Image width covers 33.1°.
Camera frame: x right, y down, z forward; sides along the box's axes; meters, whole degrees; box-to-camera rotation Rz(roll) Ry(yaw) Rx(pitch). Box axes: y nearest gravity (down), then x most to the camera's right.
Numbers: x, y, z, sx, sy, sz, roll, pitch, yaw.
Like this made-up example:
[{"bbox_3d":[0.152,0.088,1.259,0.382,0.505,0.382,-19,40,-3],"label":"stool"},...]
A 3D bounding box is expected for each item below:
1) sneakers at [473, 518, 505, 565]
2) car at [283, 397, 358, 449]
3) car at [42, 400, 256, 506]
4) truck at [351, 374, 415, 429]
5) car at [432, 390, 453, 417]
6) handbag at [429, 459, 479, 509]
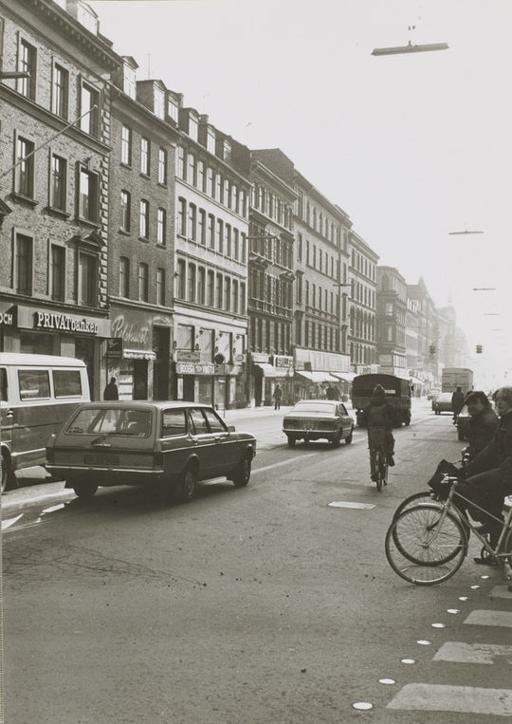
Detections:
[{"bbox_3d":[2.007,1.578,7.429,0.187,0.308,0.437,0,0,7],"label":"sneakers"},{"bbox_3d":[1.665,1.670,23.330,1.577,1.255,2.058,-2,-3,11],"label":"car"},{"bbox_3d":[-1.218,1.077,11.627,1.163,0.996,2.480,0,0,23],"label":"car"},{"bbox_3d":[5.417,1.370,37.825,2.149,2.753,3.863,0,0,16],"label":"truck"},{"bbox_3d":[11.777,2.615,54.182,1.107,1.126,2.195,-1,-6,5],"label":"car"},{"bbox_3d":[1.707,1.040,7.398,0.224,0.343,0.488,2,3,37],"label":"handbag"}]
